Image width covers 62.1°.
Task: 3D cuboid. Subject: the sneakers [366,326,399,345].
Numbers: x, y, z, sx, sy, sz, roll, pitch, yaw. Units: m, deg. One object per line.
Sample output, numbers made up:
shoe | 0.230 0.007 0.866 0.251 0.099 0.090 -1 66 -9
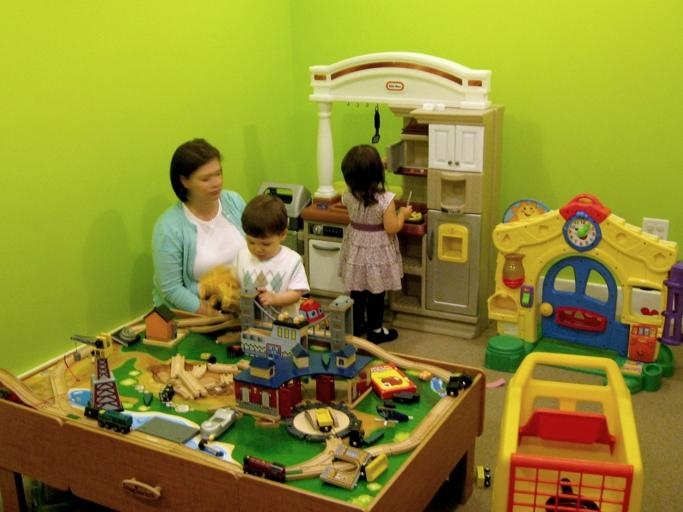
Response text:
sneakers | 0.305 0.566 4.190 0.251 0.116 0.097 -8 17 -19

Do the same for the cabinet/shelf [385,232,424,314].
cabinet/shelf | 0.561 0.100 4.341 0.297 0.605 0.309 4 12 25

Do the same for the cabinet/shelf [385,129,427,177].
cabinet/shelf | 0.506 -0.747 4.242 0.345 0.368 0.287 2 11 13

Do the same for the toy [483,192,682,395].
toy | 1.577 0.249 3.659 0.954 0.951 0.559 9 25 27
